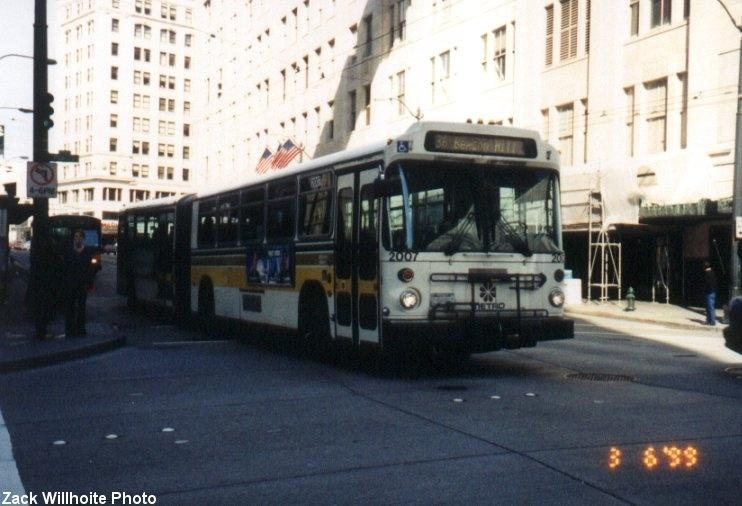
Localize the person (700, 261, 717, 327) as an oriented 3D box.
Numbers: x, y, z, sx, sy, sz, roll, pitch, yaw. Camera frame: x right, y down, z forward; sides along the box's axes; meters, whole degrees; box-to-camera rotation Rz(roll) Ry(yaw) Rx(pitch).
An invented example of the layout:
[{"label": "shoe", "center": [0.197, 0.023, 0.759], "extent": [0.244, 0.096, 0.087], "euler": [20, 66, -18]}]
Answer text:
[{"label": "person", "center": [10.709, 1.253, 24.829], "extent": [0.385, 1.906, 1.351], "euler": [2, 5, 23]}]
